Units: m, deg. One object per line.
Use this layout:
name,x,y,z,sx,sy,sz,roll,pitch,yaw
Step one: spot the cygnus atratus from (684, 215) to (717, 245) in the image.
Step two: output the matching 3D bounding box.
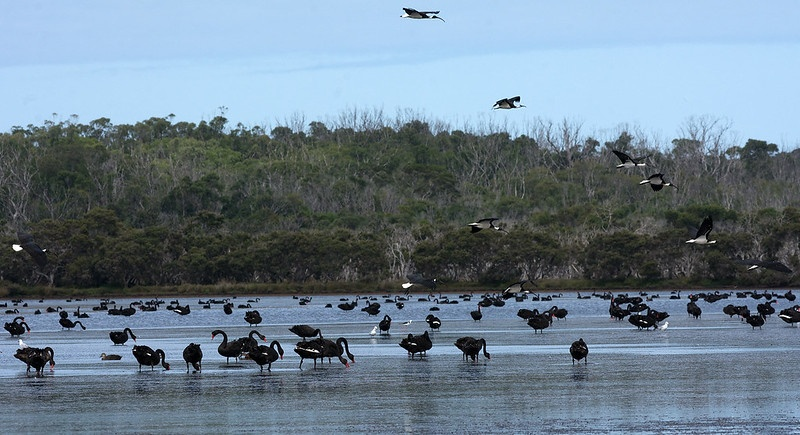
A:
cygnus atratus,37.059,1.336,217.723,2.002,2.856,4.982,-4,-2,12

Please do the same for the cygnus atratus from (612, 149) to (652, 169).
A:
cygnus atratus,27.589,-7.086,214.583,3.084,1.143,3.692,4,-8,24
